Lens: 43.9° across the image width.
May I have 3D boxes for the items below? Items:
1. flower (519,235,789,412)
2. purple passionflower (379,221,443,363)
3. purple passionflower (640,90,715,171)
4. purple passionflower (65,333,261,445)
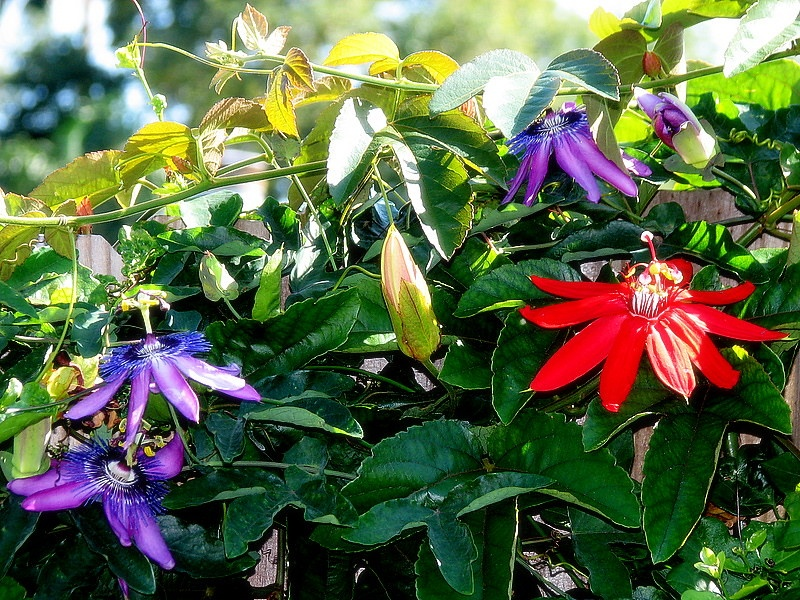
[{"bbox_3d":[0.387,0.047,1.607,0.292,0.119,0.300,-20,39,-9],"label":"flower"},{"bbox_3d":[0.020,-0.011,1.664,0.096,0.233,0.075,-14,1,-19],"label":"purple passionflower"},{"bbox_3d":[0.480,-0.299,1.778,0.105,0.152,0.055,-44,-4,2],"label":"purple passionflower"},{"bbox_3d":[-0.363,0.119,1.557,0.208,0.094,0.218,-8,29,12],"label":"purple passionflower"}]
